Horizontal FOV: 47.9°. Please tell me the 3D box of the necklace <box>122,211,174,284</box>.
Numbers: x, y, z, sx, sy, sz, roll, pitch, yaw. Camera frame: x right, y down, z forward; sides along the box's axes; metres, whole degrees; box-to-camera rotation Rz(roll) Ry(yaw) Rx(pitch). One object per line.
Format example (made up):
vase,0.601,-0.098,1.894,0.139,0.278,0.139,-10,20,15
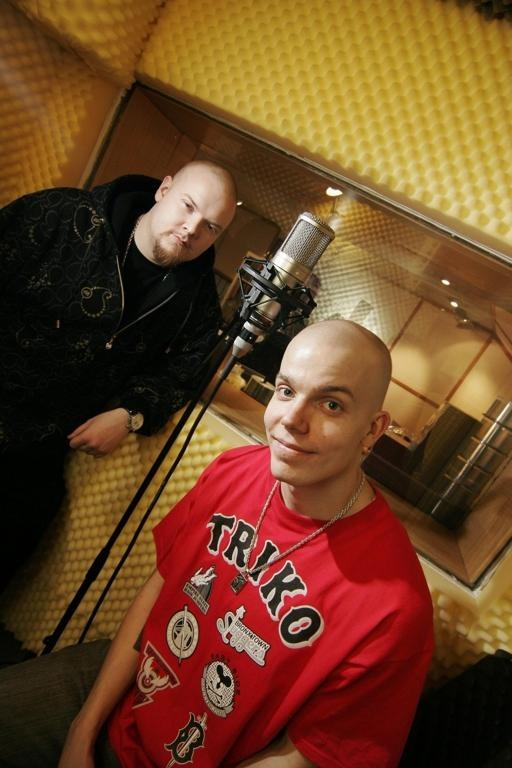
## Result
necklace,-0.340,-0.416,1.791,0.115,0.118,0.161,18,46,-32
